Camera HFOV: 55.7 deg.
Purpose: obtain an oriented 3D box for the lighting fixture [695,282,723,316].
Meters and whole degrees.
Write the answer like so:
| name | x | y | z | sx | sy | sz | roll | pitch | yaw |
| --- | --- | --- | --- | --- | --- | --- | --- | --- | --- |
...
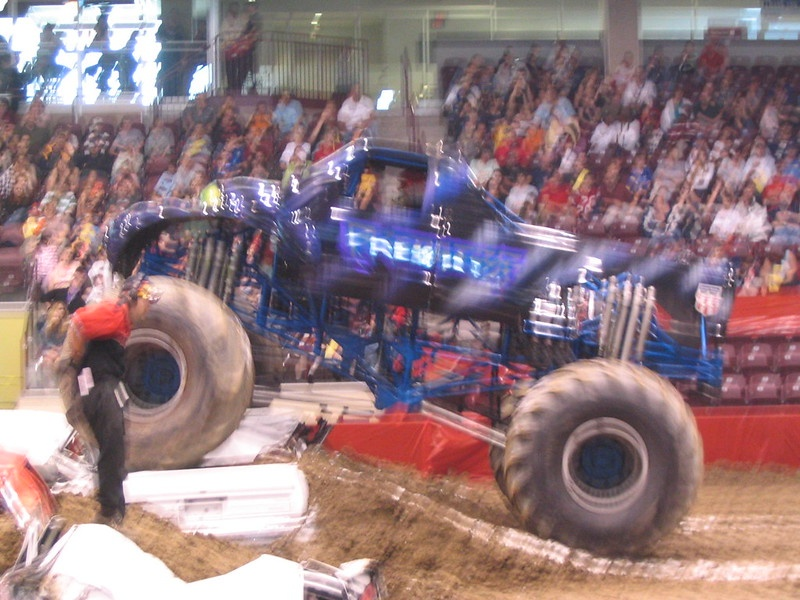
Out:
| name | x | y | z | sx | sy | sz | roll | pitch | yaw |
| --- | --- | --- | --- | --- | --- | --- | --- | --- | --- |
| lighting fixture | 2.618 | -0.017 | 6.412 | 0.214 | 0.283 | 0.085 | 7 | -1 | -1 |

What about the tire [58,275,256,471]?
| name | x | y | z | sx | sy | sz | roll | pitch | yaw |
| --- | --- | --- | --- | --- | --- | --- | --- | --- | --- |
| tire | -1.721 | 0.613 | 5.658 | 1.325 | 1.678 | 0.503 | -2 | -7 | 1 |

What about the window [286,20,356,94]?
| name | x | y | z | sx | sy | sz | roll | pitch | yaw |
| --- | --- | --- | --- | --- | --- | --- | --- | --- | --- |
| window | -1.191 | -3.732 | 11.690 | 1.122 | 0.994 | 0.058 | 1 | -22 | -4 |
